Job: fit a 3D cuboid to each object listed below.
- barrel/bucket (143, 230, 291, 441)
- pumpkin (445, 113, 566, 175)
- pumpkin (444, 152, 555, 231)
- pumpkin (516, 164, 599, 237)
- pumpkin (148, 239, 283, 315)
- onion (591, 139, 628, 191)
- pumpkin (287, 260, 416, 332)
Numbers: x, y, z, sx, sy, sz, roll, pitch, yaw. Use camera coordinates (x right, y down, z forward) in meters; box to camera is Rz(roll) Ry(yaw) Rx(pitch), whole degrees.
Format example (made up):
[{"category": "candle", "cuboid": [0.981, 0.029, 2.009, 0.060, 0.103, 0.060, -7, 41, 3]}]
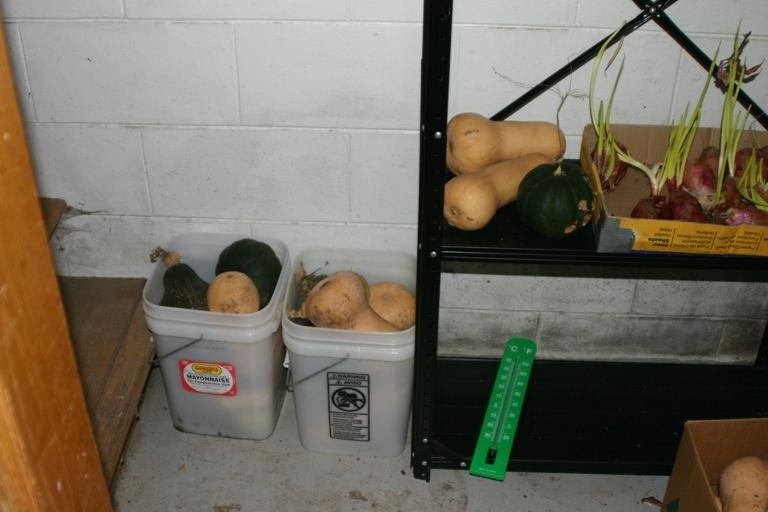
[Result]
[{"category": "barrel/bucket", "cuboid": [-0.556, 0.326, 2.351, 0.500, 0.565, 0.507, 2, 25, -1]}, {"category": "pumpkin", "cuboid": [0.392, -0.357, 2.039, 0.401, 0.186, 0.188, -6, 24, -17]}, {"category": "pumpkin", "cuboid": [0.335, -0.197, 1.943, 0.367, 0.151, 0.152, -29, 29, -31]}, {"category": "pumpkin", "cuboid": [0.465, -0.166, 1.793, 0.200, 0.205, 0.206, 1, 31, 8]}, {"category": "pumpkin", "cuboid": [-0.578, 0.057, 2.211, 0.384, 0.230, 0.179, -1, 61, 21]}, {"category": "onion", "cuboid": [0.651, -0.262, 1.860, 0.104, 0.141, 0.052, 9, 10, 3]}, {"category": "pumpkin", "cuboid": [-0.091, 0.162, 2.110, 0.348, 0.116, 0.205, 17, 59, 0]}]
